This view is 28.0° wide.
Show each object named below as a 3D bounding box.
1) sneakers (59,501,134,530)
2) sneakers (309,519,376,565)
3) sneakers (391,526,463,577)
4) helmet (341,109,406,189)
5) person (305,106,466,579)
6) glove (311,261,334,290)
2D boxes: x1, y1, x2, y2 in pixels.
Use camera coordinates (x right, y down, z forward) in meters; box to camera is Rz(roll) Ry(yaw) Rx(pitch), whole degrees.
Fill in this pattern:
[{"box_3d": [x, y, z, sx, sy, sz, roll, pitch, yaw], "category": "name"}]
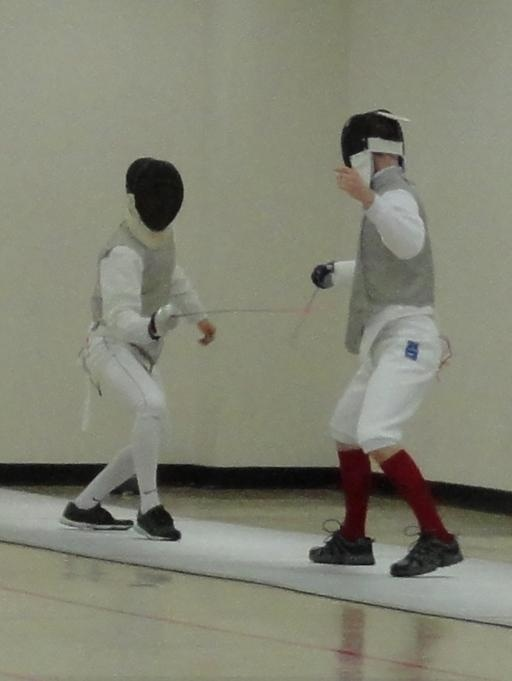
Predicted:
[{"box_3d": [-0.298, 0.323, 1.916, 0.161, 0.051, 0.048, 5, -5, -10], "category": "sneakers"}, {"box_3d": [0.158, 0.372, 1.885, 0.142, 0.055, 0.048, 5, -28, -3], "category": "sneakers"}, {"box_3d": [0.302, 0.380, 1.845, 0.153, 0.064, 0.050, -10, 5, -25], "category": "sneakers"}, {"box_3d": [0.211, -0.362, 1.935, 0.122, 0.137, 0.130, 0, 12, -6], "category": "helmet"}, {"box_3d": [0.259, 0.001, 1.854, 0.332, 0.831, 0.140, 8, 6, 10], "category": "person"}, {"box_3d": [0.120, -0.117, 1.850, 0.044, 0.047, 0.016, -12, 20, -30], "category": "glove"}]
